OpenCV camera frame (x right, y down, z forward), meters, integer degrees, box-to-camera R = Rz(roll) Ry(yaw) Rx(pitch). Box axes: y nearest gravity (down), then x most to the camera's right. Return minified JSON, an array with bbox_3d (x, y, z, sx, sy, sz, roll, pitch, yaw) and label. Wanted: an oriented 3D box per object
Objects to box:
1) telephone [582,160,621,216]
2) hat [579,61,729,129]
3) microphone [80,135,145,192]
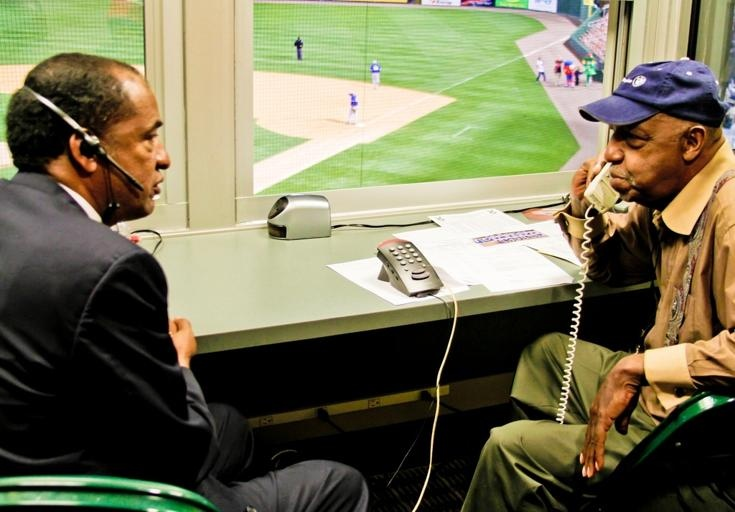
[{"bbox_3d":[0.653,-0.184,1.741,0.090,0.148,0.045,37,4,8],"label":"telephone"},{"bbox_3d":[0.670,-0.378,1.491,0.273,0.138,0.175,8,8,8],"label":"hat"},{"bbox_3d":[-0.481,-0.173,1.195,0.029,0.121,0.035,-33,31,20],"label":"microphone"}]
